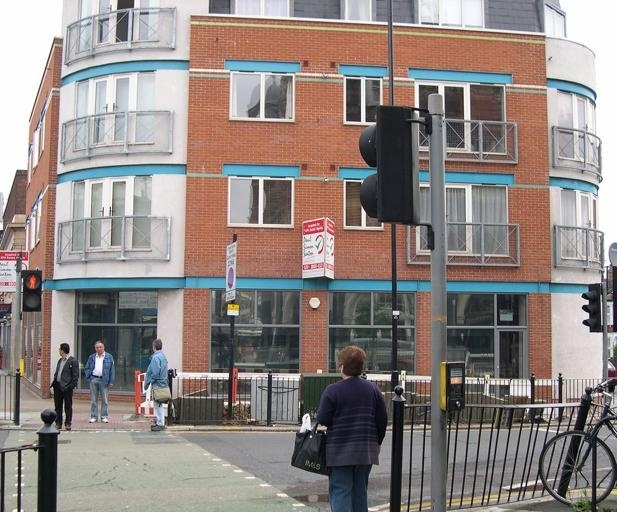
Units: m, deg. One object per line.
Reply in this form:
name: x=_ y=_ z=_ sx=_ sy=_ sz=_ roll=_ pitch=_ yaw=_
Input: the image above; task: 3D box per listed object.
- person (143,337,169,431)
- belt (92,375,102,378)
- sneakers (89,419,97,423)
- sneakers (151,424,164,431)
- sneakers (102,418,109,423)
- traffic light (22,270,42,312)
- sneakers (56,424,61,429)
person: x=-3.707 y=3.122 z=29.999 sx=0.635 sy=2.339 sz=1.545 roll=1 pitch=-10 yaw=-8
belt: x=-5.286 y=3.009 z=30.735 sx=0.199 sy=0.061 sz=0.068 roll=1 pitch=-10 yaw=-4
sneakers: x=-5.383 y=4.109 z=30.601 sx=0.193 sy=0.113 sz=0.171 roll=0 pitch=-11 yaw=1
sneakers: x=-3.616 y=4.135 z=29.439 sx=0.282 sy=0.158 sz=0.145 roll=5 pitch=-5 yaw=8
sneakers: x=-5.100 y=4.151 z=30.848 sx=0.138 sy=0.115 sz=0.395 roll=1 pitch=-11 yaw=-6
traffic light: x=-6.757 y=0.811 z=29.940 sx=0.459 sy=1.022 sz=0.358 roll=3 pitch=-10 yaw=-19
sneakers: x=-5.950 y=4.073 z=29.247 sx=0.129 sy=0.113 sz=0.237 roll=2 pitch=-11 yaw=-11
